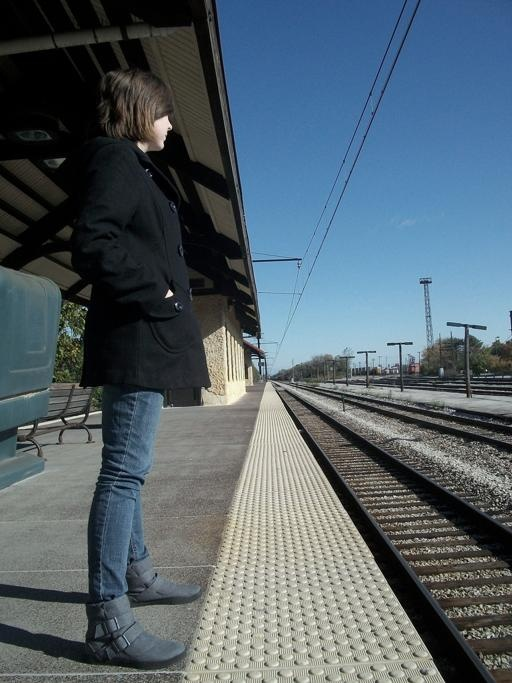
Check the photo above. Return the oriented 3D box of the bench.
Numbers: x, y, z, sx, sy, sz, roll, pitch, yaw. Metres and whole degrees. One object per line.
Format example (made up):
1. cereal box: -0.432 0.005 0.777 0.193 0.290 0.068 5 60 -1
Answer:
1. bench: -3.306 1.195 6.372 1.686 1.038 0.642 -12 -13 40

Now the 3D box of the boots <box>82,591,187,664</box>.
1. boots: -0.360 0.866 1.179 0.279 0.224 0.127 1 14 1
